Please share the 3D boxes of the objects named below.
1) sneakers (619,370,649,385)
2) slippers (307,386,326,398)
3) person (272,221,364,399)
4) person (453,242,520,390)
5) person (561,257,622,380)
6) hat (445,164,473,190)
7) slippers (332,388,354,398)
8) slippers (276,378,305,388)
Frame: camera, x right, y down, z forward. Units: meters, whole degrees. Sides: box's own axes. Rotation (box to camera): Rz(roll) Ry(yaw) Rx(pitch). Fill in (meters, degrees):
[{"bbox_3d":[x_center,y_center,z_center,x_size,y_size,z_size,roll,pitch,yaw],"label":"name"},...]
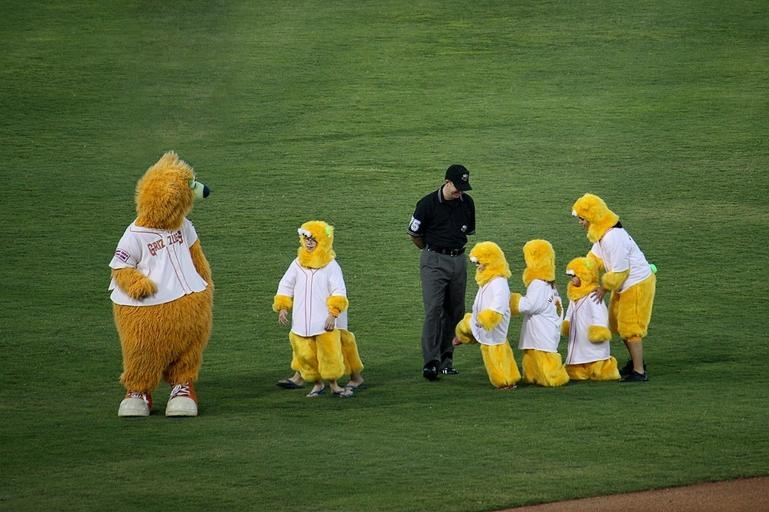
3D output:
[{"bbox_3d":[2.989,1.492,18.354,0.416,0.117,0.124,1,3,5],"label":"sneakers"},{"bbox_3d":[-0.823,1.649,18.157,0.231,0.069,0.111,-10,6,-30],"label":"slippers"},{"bbox_3d":[-0.810,0.644,18.113,1.013,2.112,0.394,-1,4,-3],"label":"person"},{"bbox_3d":[1.241,0.720,18.375,0.677,1.774,0.487,2,5,35],"label":"person"},{"bbox_3d":[2.484,0.772,18.384,0.726,1.506,0.352,0,5,15],"label":"person"},{"bbox_3d":[0.888,-0.958,18.523,0.268,0.327,0.191,-1,4,-1],"label":"hat"},{"bbox_3d":[-0.506,1.658,18.139,0.203,0.049,0.127,5,16,23],"label":"slippers"},{"bbox_3d":[-1.156,1.569,18.451,0.296,0.084,0.134,5,-4,-19],"label":"slippers"}]
